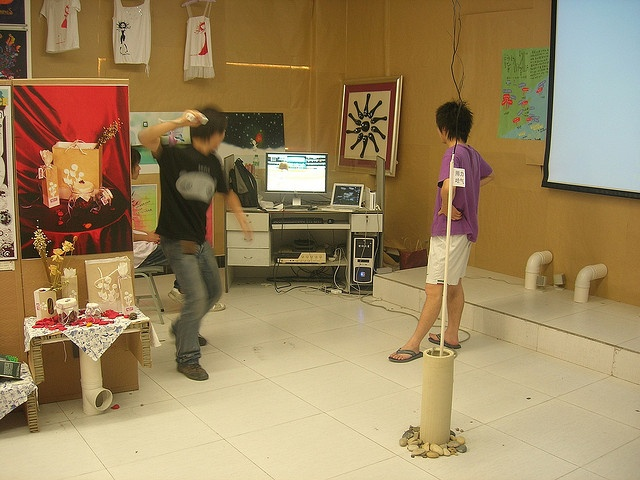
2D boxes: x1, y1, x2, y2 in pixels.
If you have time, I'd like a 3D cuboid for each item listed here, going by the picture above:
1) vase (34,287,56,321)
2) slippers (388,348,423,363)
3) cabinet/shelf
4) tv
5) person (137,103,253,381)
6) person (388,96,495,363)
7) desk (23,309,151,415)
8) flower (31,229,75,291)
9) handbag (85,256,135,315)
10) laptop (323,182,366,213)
[{"bbox_3d":[-1.938,0.437,3.504,0.151,0.202,0.131,6,13,26],"label":"vase"},{"bbox_3d":[0.740,1.009,4.471,0.258,0.068,0.131,-2,5,-28],"label":"slippers"},{"bbox_3d":[-0.218,0.071,6.640,1.894,1.167,0.772,1,15,-2],"label":"cabinet/shelf"},{"bbox_3d":[-0.332,-0.789,6.574,0.735,0.718,0.330,1,3,-2],"label":"tv"},{"bbox_3d":[-1.095,0.006,4.177,0.575,2.206,0.596,1,12,3],"label":"person"},{"bbox_3d":[1.104,-0.091,4.520,0.575,2.281,1.045,7,14,30],"label":"person"},{"bbox_3d":[-1.679,0.926,3.672,0.777,0.720,0.662,-2,5,-31],"label":"desk"},{"bbox_3d":[-1.891,0.143,3.572,0.287,0.458,0.200,-6,13,-27],"label":"flower"},{"bbox_3d":[-1.548,0.286,3.839,0.401,0.552,0.356,-5,3,-36],"label":"handbag"},{"bbox_3d":[0.325,-0.556,6.477,0.538,0.577,0.315,5,8,9],"label":"laptop"}]
